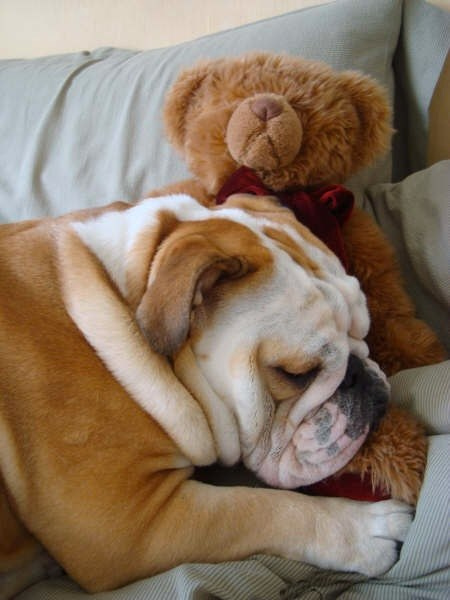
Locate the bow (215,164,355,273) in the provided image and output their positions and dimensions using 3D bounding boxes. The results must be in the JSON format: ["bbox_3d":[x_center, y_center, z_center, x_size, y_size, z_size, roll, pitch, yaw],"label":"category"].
[{"bbox_3d":[0.065,-0.120,0.935,0.187,0.139,0.077,32,114,6],"label":"bow"}]

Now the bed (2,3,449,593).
[{"bbox_3d":[0.025,-0.155,1.313,1.027,0.265,0.736,-17,64,3],"label":"bed"}]
